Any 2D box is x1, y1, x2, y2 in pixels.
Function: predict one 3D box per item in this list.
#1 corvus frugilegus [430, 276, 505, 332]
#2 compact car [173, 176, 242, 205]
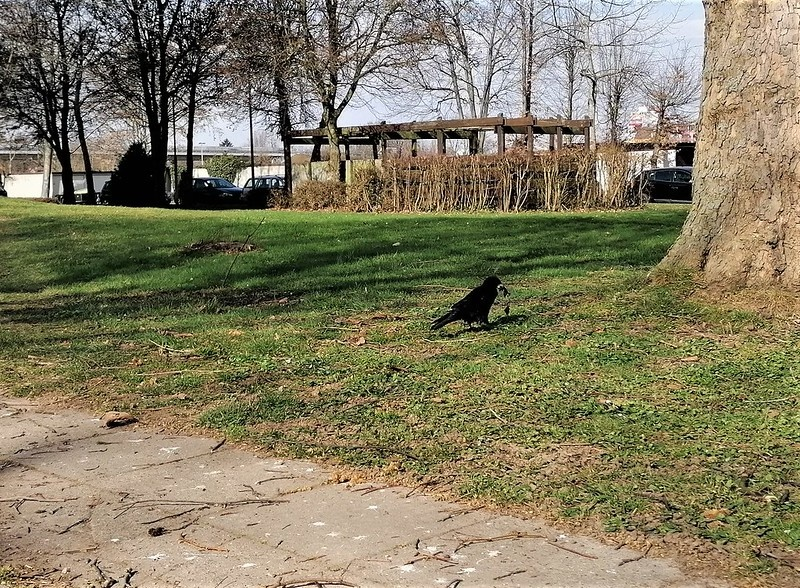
[{"bbox_3d":[0.832,0.144,14.107,0.571,0.641,1.054,4,14,35],"label":"corvus frugilegus"},{"bbox_3d":[-7.770,-4.362,47.971,2.843,0.898,1.371,-1,4,38],"label":"compact car"}]
